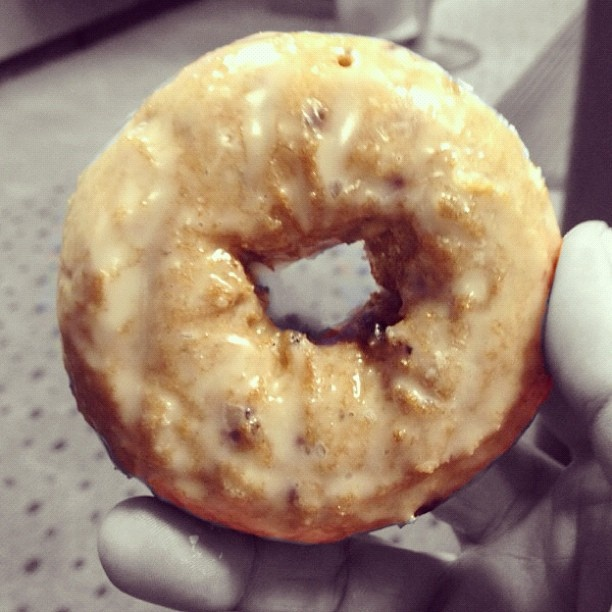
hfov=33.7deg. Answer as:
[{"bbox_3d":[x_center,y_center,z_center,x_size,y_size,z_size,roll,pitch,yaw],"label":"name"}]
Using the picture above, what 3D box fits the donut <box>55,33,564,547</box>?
[{"bbox_3d":[0.060,-0.015,0.874,0.555,0.184,0.409,-10,73,38],"label":"donut"}]
